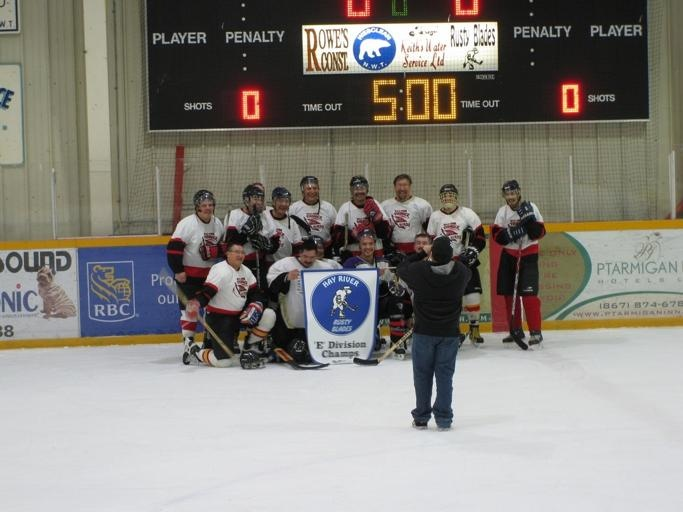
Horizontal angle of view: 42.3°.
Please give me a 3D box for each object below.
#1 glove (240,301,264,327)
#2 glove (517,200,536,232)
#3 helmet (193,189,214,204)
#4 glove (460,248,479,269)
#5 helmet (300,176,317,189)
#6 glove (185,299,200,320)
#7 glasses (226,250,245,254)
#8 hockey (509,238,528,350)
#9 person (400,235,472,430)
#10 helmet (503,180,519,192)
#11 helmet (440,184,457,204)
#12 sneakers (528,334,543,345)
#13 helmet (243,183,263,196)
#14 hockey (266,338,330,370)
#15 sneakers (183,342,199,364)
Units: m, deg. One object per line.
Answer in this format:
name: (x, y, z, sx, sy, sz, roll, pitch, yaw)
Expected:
glove: (-1.111, 0.706, 10.840, 0.104, 0.227, 0.300, 14, 21, 32)
glove: (2.484, -0.539, 11.790, 0.251, 0.362, 0.177, -2, 11, -1)
helmet: (-1.840, -0.793, 11.794, 0.216, 0.264, 0.263, 1, -21, -18)
glove: (1.703, 0.022, 11.665, 0.260, 0.256, 0.208, 19, -8, -9)
helmet: (-0.432, -1.007, 12.138, 0.155, 0.224, 0.196, 0, 4, -8)
glove: (-1.796, 0.652, 10.767, 0.178, 0.281, 0.245, -2, -3, 0)
glasses: (-1.326, -0.031, 10.954, 0.204, 0.080, 0.082, 0, 12, 8)
hockey: (2.356, 0.609, 11.677, 0.222, 1.178, 0.536, 0, 11, 10)
person: (0.888, 0.728, 8.535, 0.665, 1.796, 0.506, 0, 11, 6)
helmet: (2.279, -0.921, 11.856, 0.203, 0.155, 0.262, 1, 12, 15)
helmet: (1.456, -0.807, 11.955, 0.189, 0.220, 0.238, -1, -30, 4)
sneakers: (2.556, 1.092, 11.605, 0.183, 0.151, 0.147, -1, 12, 4)
helmet: (-1.167, -0.885, 11.754, 0.217, 0.233, 0.184, -4, 10, -2)
hockey: (-0.593, 1.298, 10.991, 0.427, 0.122, 0.422, 19, 7, -45)
sneakers: (-1.939, 1.249, 11.243, 0.144, 0.307, 0.187, 4, -7, 40)
